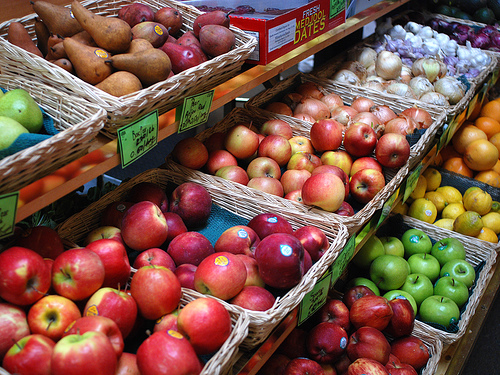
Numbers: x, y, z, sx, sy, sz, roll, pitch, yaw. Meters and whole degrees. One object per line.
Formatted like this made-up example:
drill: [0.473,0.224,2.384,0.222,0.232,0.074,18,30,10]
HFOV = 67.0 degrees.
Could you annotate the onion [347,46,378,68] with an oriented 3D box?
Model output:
onion: [0.808,-0.928,2.739,0.166,0.191,0.167,0,10,-43]

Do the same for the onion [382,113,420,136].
onion: [0.824,-0.364,2.052,0.127,0.147,0.139,8,35,27]

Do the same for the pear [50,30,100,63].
pear: [-0.618,-0.507,1.328,0.167,0.096,0.098,-6,31,3]

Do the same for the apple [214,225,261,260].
apple: [-0.056,0.196,1.376,0.120,0.134,0.122,-6,14,-2]

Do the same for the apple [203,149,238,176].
apple: [-0.146,-0.151,1.809,0.117,0.136,0.133,30,23,32]

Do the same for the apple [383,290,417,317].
apple: [0.754,0.576,1.929,0.112,0.127,0.132,-7,59,-3]

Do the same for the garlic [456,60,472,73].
garlic: [1.642,-0.945,2.903,0.099,0.057,0.107,-25,55,-13]

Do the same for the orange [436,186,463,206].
orange: [1.392,0.052,2.629,0.108,0.104,0.155,-30,48,-28]

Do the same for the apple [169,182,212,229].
apple: [-0.256,0.085,1.591,0.166,0.180,0.204,-9,83,-35]

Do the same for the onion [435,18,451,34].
onion: [1.694,-1.435,3.323,0.042,0.106,0.105,-13,9,-40]

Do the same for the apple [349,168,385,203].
apple: [0.524,-0.014,1.721,0.162,0.161,0.138,-17,9,-34]

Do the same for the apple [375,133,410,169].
apple: [0.711,-0.165,1.865,0.149,0.156,0.177,12,68,-20]

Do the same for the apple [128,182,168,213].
apple: [-0.405,0.025,1.528,0.110,0.125,0.137,8,85,0]

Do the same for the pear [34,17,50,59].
pear: [-0.755,-0.553,1.375,0.044,0.053,0.157,-6,85,-14]

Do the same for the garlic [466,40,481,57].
garlic: [1.743,-1.096,2.977,0.115,0.055,0.145,10,32,-38]

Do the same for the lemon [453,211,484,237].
lemon: [1.367,0.220,2.367,0.146,0.197,0.145,-17,13,-32]

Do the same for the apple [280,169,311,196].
apple: [0.208,-0.029,1.731,0.105,0.125,0.102,-4,8,-40]

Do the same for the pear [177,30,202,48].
pear: [-0.256,-0.637,1.578,0.067,0.056,0.088,23,35,10]

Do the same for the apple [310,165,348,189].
apple: [0.365,-0.011,1.716,0.133,0.118,0.129,11,76,-7]

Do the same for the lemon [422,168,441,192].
lemon: [1.252,-0.050,2.623,0.088,0.124,0.097,15,25,-1]

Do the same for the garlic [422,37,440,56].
garlic: [1.430,-1.141,2.997,0.128,0.080,0.155,6,68,4]

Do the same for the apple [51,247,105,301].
apple: [-0.474,0.244,1.113,0.121,0.160,0.152,0,86,-2]

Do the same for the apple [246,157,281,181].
apple: [0.068,-0.088,1.812,0.101,0.121,0.116,-3,29,-3]

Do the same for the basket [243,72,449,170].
basket: [0.617,-0.505,2.234,0.920,0.285,0.664,20,42,19]

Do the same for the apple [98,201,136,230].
apple: [-0.511,0.096,1.472,0.105,0.131,0.109,-13,54,-43]

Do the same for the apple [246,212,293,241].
apple: [0.086,0.135,1.434,0.105,0.116,0.109,-15,37,-32]

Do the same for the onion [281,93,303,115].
onion: [0.247,-0.516,2.228,0.103,0.110,0.121,3,57,10]

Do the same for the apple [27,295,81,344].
apple: [-0.539,0.372,1.058,0.107,0.113,0.143,17,81,-16]

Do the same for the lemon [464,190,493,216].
lemon: [1.512,0.095,2.556,0.154,0.155,0.176,10,78,56]

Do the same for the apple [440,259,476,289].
apple: [1.151,0.459,2.082,0.140,0.156,0.169,-4,85,-7]

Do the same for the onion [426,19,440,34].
onion: [1.612,-1.438,3.362,0.109,0.155,0.117,-2,23,39]

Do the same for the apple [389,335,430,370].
apple: [0.736,0.747,1.803,0.169,0.151,0.166,-5,87,-1]

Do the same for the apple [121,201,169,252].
apple: [-0.372,0.158,1.348,0.160,0.169,0.140,-12,53,-13]

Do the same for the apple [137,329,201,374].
apple: [-0.212,0.430,0.960,0.148,0.066,0.111,-9,55,-11]

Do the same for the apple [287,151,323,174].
apple: [0.265,-0.121,1.817,0.105,0.115,0.134,11,90,1]

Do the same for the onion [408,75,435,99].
onion: [1.155,-0.687,2.596,0.141,0.150,0.147,33,45,18]

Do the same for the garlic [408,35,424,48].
garlic: [1.313,-1.153,2.985,0.099,0.042,0.127,2,84,2]

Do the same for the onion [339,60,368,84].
onion: [0.744,-0.822,2.711,0.161,0.182,0.178,12,52,33]

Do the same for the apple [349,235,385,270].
apple: [0.620,0.343,2.088,0.154,0.156,0.182,37,90,4]

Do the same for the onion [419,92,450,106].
onion: [1.179,-0.569,2.414,0.130,0.088,0.153,2,34,-4]

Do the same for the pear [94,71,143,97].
pear: [-0.437,-0.344,1.283,0.143,0.093,0.100,-5,82,-23]

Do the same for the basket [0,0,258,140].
basket: [-0.312,-0.442,1.377,0.628,0.207,0.803,34,45,21]

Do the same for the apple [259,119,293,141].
apple: [0.131,-0.330,1.938,0.107,0.126,0.115,12,28,25]

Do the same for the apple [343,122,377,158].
apple: [0.553,-0.239,1.919,0.150,0.153,0.175,18,86,11]
